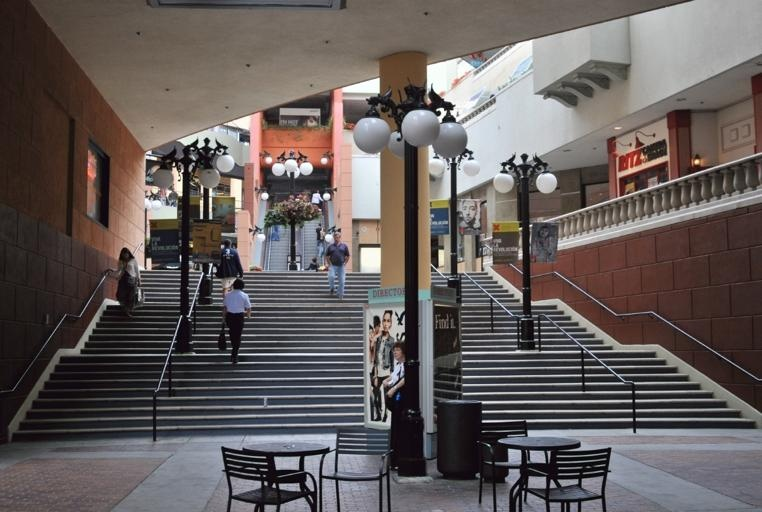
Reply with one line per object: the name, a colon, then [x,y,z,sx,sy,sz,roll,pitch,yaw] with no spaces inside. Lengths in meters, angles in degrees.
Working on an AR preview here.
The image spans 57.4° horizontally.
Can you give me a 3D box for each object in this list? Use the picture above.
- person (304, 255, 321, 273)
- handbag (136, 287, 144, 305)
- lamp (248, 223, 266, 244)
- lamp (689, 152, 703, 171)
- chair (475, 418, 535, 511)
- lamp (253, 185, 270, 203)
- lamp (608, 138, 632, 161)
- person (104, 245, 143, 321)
person: [-3.352,0.391,33.964,0.608,1.449,0.483,2,5,5]
handbag: [-6.910,1.143,19.823,0.255,0.314,0.490,2,-14,-8]
lamp: [-6.534,-1.232,36.706,0.727,0.933,2.794,1,-7,-6]
lamp: [10.623,-3.137,23.408,0.462,0.770,0.485,1,0,13]
chair: [1.958,3.279,11.222,1.003,1.725,1.093,2,-10,-10]
lamp: [-6.766,-3.449,39.043,0.758,0.760,1.480,-6,19,-8]
lamp: [9.117,-4.174,26.704,0.277,0.812,1.263,3,-8,-18]
person: [-7.142,0.785,19.655,0.714,1.877,1.180,3,-8,-21]
